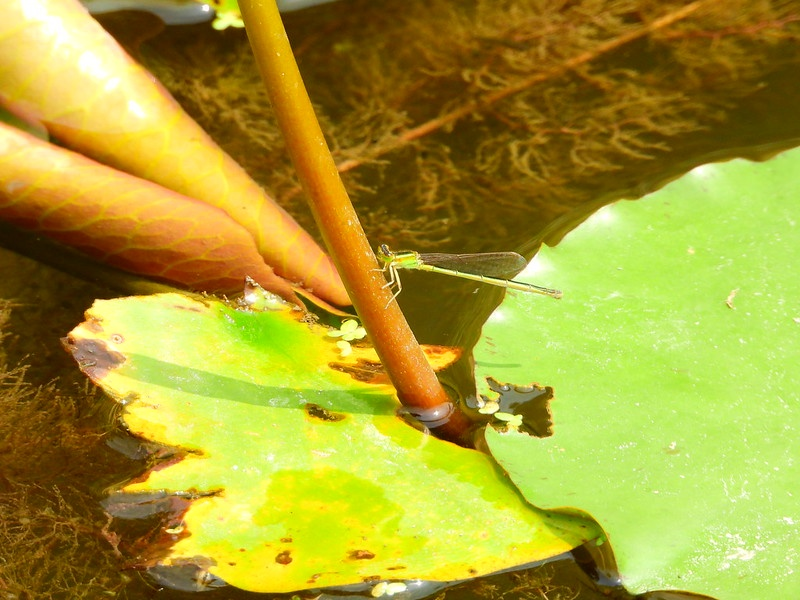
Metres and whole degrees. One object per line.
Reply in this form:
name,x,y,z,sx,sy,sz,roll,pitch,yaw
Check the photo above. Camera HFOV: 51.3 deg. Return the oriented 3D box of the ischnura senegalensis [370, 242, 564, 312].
ischnura senegalensis,0.063,-0.025,0.980,0.235,0.050,0.070,8,16,-2
